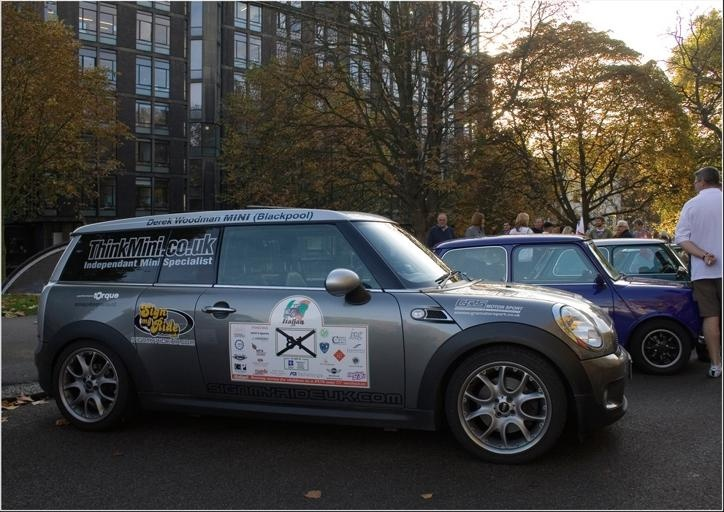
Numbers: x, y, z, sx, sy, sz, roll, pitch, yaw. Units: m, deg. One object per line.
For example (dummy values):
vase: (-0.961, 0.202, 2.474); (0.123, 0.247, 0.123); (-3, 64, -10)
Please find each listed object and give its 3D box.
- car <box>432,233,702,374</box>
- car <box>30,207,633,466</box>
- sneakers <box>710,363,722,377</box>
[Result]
car: (2.574, 0.621, 9.451); (4.816, 2.011, 2.846); (-1, 5, -9)
car: (-0.544, 0.760, 6.983); (5.755, 2.184, 2.720); (-2, 0, 14)
sneakers: (4.832, 1.548, 8.037); (0.132, 0.118, 0.243); (7, 16, 33)
